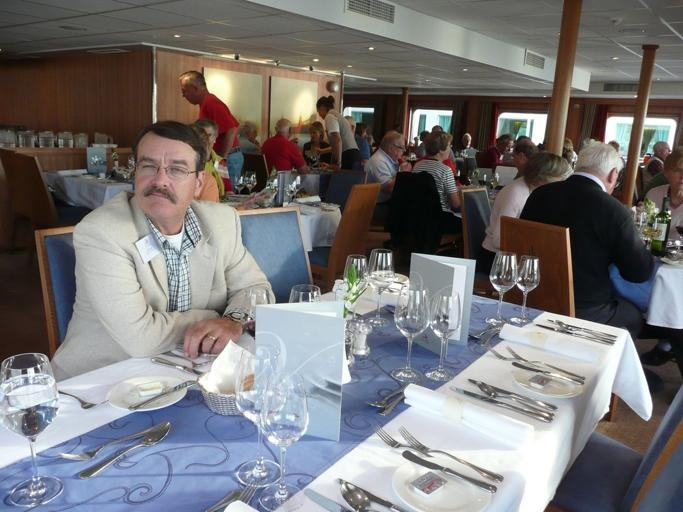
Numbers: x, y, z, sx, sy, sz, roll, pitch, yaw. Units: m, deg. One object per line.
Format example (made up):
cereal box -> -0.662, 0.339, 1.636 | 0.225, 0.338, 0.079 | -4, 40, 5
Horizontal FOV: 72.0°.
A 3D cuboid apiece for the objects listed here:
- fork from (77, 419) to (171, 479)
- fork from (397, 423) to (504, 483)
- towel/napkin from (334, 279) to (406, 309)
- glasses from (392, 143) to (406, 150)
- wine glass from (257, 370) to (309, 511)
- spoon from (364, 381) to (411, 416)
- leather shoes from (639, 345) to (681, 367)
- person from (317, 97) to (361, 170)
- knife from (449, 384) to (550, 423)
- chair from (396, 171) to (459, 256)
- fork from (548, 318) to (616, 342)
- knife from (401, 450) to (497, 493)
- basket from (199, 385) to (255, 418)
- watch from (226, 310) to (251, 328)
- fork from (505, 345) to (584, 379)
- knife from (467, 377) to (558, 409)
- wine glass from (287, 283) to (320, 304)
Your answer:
fork -> -0.443, 0.394, 1.014 | 0.046, 0.032, 0.227 | 21, 24, 31
fork -> 0.238, 0.433, 1.020 | 0.029, 0.033, 0.240 | -15, 21, -41
towel/napkin -> 0.169, 0.151, 1.923 | 0.173, 0.040, 0.170 | 16, 25, 31
glasses -> 0.680, -1.282, 5.500 | 0.147, 0.066, 0.040 | 6, 5, -37
wine glass -> -0.115, 0.331, 0.930 | 0.089, 0.229, 0.213 | 0, 16, -5
spoon -> 0.118, 0.364, 1.210 | 0.044, 0.014, 0.131 | 2, 8, 29
leather shoes -> 2.175, 0.687, 3.255 | 0.254, 0.147, 0.093 | -6, 18, -23
person -> 0.020, -1.863, 7.082 | 0.585, 1.057, 0.904 | -6, 18, -23
knife -> 0.399, 0.379, 1.193 | 0.211, 0.016, 0.030 | 10, 21, 37
chair -> 0.817, -0.434, 4.491 | 0.558, 0.805, 0.625 | 18, 31, 35
fork -> 0.860, 0.269, 1.690 | 0.210, 0.017, 0.061 | 9, 17, 32
knife -> 0.215, 0.446, 0.965 | 0.153, 0.010, 0.022 | 13, 15, 36
basket -> -0.281, 0.347, 1.101 | 0.083, 0.029, 0.080 | 6, 4, 14
watch -> -0.352, 0.211, 1.603 | 0.081, 0.075, 0.051 | 10, 36, 7
fork -> 0.616, 0.331, 1.430 | 0.225, 0.030, 0.024 | 18, 25, 30
knife -> 0.431, 0.360, 1.270 | 0.267, 0.027, 0.061 | 13, 15, 28
wine glass -> -0.099, 0.101, 1.300 | 0.059, 0.056, 0.059 | -7, 17, -28
